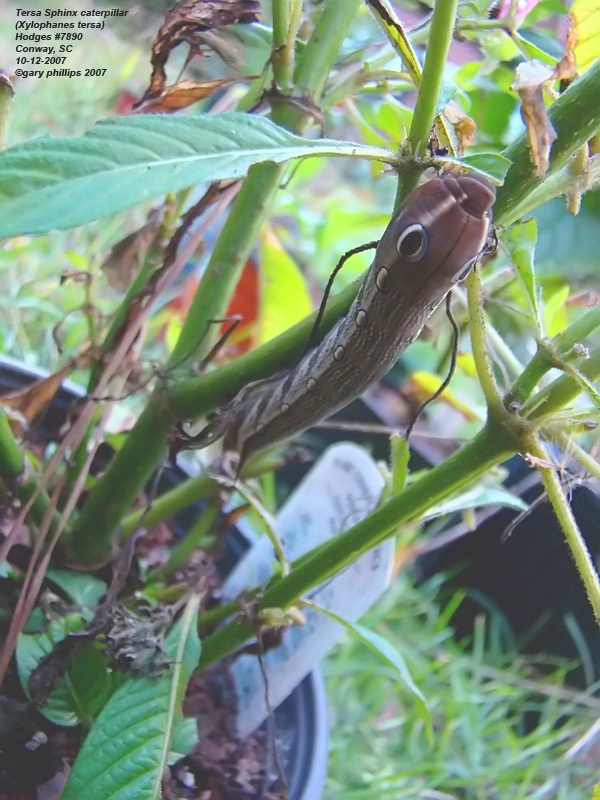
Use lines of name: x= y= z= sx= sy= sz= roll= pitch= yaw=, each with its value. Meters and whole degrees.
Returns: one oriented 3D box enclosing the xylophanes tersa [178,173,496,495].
xylophanes tersa: x=0.013 y=-0.024 z=0.321 sx=0.078 sy=0.136 sz=0.042 roll=29 pitch=38 yaw=-28
